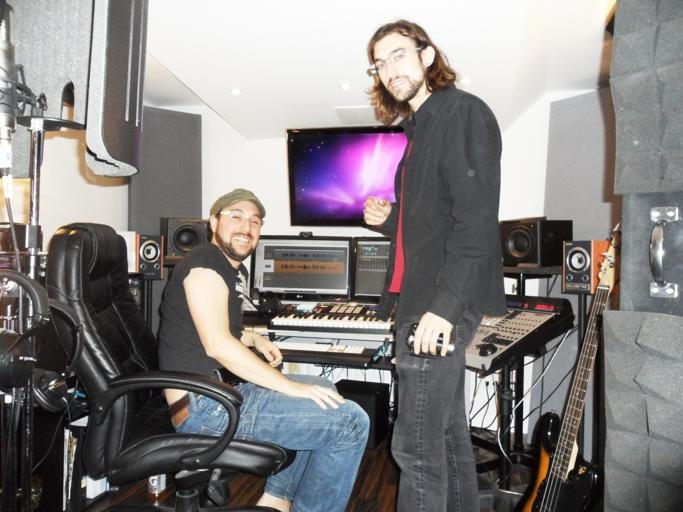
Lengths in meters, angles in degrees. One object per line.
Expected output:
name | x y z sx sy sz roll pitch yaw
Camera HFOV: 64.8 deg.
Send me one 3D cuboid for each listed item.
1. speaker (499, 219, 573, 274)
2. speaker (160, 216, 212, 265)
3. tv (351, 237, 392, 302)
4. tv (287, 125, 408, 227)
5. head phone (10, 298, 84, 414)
speaker | 1.204 -0.073 3.336 0.361 0.331 0.339 -3 4 -36
speaker | -0.994 -0.102 3.415 0.310 0.310 0.163 -1 3 -26
tv | 0.197 0.077 3.735 0.369 0.388 0.092 2 -1 18
tv | 0.054 -0.598 3.720 0.868 0.665 0.088 0 16 4
head phone | -1.062 0.361 2.001 0.250 0.328 0.126 -2 -9 25
